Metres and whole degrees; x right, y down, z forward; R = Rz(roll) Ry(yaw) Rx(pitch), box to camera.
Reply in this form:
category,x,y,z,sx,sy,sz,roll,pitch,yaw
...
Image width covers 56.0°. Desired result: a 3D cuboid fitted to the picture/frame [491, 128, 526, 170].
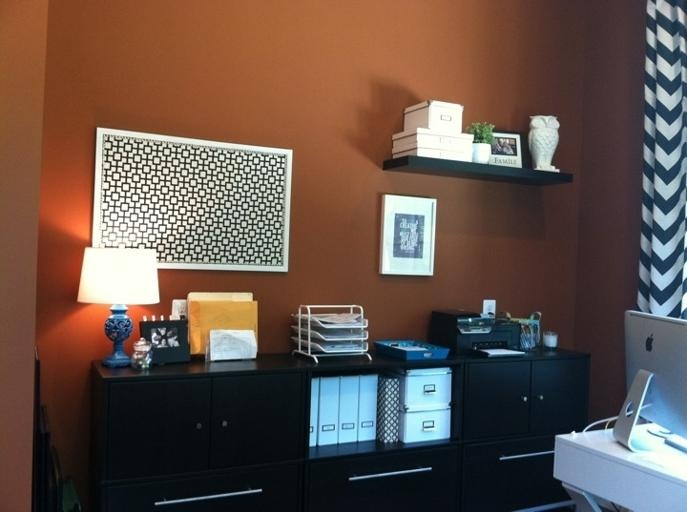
category,x,y,z,sx,sy,sz,roll,pitch,yaw
picture/frame,1.169,-0.773,4.644,0.242,0.333,0.030,13,-10,-9

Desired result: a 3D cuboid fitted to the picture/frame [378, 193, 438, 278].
category,x,y,z,sx,sy,sz,roll,pitch,yaw
picture/frame,0.420,-0.148,4.439,0.481,0.684,0.044,3,-2,-27

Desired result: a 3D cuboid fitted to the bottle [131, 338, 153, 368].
category,x,y,z,sx,sy,sz,roll,pitch,yaw
bottle,-1.069,0.533,3.489,0.086,0.168,0.149,0,-8,-4

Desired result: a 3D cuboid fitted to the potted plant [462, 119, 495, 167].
category,x,y,z,sx,sy,sz,roll,pitch,yaw
potted plant,0.948,-0.780,4.596,0.229,0.331,0.279,-1,-2,34

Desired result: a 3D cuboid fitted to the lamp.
category,x,y,z,sx,sy,sz,roll,pitch,yaw
lamp,-1.295,0.293,3.898,0.527,0.888,0.568,3,-3,-14

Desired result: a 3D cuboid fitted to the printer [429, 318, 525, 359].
category,x,y,z,sx,sy,sz,roll,pitch,yaw
printer,0.918,0.528,4.333,0.280,0.172,0.401,0,0,-17

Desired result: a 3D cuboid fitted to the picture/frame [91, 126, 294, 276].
category,x,y,z,sx,sy,sz,roll,pitch,yaw
picture/frame,-0.969,-0.340,3.897,0.782,0.622,0.022,3,1,-22
